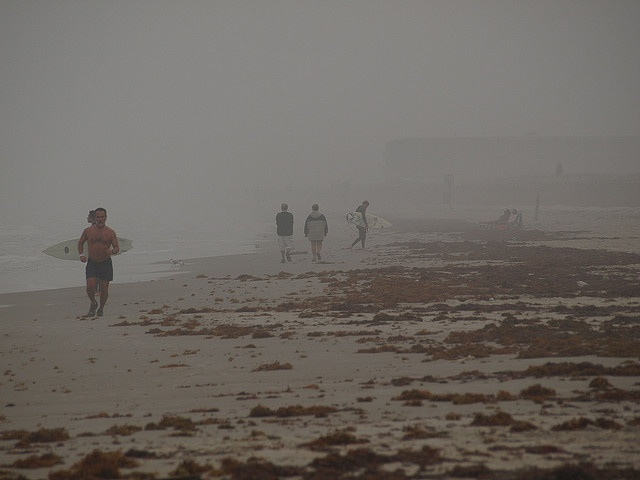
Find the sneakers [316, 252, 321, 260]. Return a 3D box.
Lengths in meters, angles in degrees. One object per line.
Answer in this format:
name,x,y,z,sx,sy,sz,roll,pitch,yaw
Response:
sneakers,-0.055,0.606,32.042,0.138,0.261,0.062,-2,-19,-3

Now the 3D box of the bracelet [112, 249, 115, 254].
bracelet,-5.853,0.326,24.414,0.090,0.115,0.035,-3,4,-13

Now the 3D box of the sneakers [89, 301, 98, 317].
sneakers,-6.597,1.937,24.927,0.210,0.232,0.584,3,44,-2

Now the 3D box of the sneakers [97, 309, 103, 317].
sneakers,-6.333,2.118,24.885,0.193,0.196,0.180,0,-4,-2
